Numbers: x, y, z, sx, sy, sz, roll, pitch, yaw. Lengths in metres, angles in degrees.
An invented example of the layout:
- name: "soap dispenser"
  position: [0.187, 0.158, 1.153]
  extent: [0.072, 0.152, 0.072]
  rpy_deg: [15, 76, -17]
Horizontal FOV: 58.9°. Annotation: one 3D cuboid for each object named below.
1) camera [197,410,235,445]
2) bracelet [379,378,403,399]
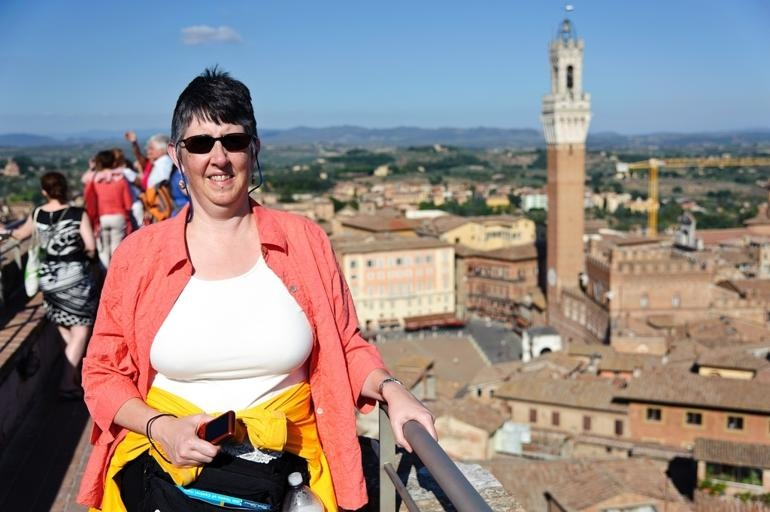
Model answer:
- name: "camera"
  position: [-0.772, 0.790, 3.146]
  extent: [0.198, 0.140, 0.052]
  rpy_deg: [-28, -23, 16]
- name: "bracelet"
  position: [0.024, 0.644, 3.370]
  extent: [0.107, 0.073, 0.074]
  rpy_deg: [9, 7, -25]
